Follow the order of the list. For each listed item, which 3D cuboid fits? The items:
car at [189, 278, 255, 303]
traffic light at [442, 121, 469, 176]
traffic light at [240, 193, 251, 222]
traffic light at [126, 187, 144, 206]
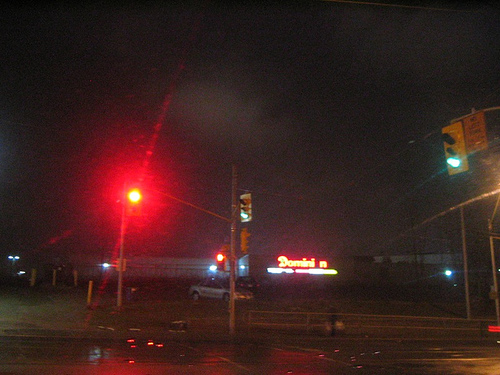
[{"bbox_3d":[-2.480,9.104,43.377,5.551,1.594,2.292,1,-5,10],"label":"car"},{"bbox_3d":[8.056,-1.521,19.440,0.836,1.802,1.303,-4,-20,23],"label":"traffic light"},{"bbox_3d":[-0.314,1.063,27.096,0.595,1.521,0.691,10,-20,-19],"label":"traffic light"},{"bbox_3d":[-6.062,0.404,26.097,0.737,0.762,1.030,8,-18,-14],"label":"traffic light"}]
